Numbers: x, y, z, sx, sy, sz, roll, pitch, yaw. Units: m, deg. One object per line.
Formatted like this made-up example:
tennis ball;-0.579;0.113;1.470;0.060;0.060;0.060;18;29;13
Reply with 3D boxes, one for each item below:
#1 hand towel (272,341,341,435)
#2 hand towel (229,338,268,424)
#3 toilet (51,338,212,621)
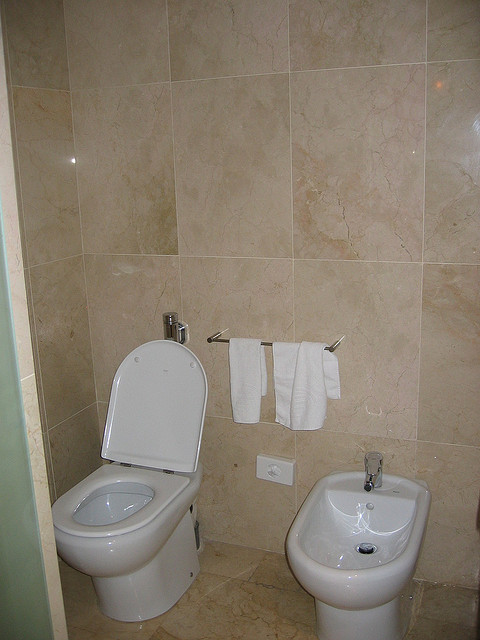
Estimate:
hand towel;0.215;0.231;1.829;0.225;0.334;0.122;0;9;13
hand towel;0.025;0.187;1.883;0.118;0.356;0.050;2;33;3
toilet;-0.332;0.514;1.826;0.418;0.834;0.656;1;10;19
